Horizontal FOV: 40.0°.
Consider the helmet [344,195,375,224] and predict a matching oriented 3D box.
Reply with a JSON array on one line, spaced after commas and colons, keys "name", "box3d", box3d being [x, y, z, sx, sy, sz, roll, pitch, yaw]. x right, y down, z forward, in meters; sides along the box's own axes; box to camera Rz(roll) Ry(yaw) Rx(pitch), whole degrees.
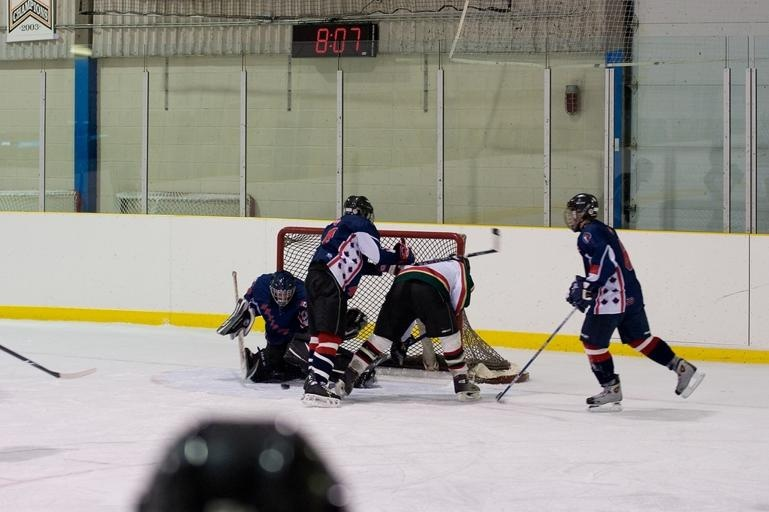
[{"name": "helmet", "box3d": [-0.186, -0.381, 8.489, 0.248, 0.222, 0.201, -4, 6, -41]}]

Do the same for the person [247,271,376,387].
[{"name": "person", "box3d": [-0.797, 0.616, 8.956, 0.856, 1.043, 0.530, 0, 0, 4]}]

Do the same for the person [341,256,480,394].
[{"name": "person", "box3d": [0.216, 0.582, 8.499, 0.692, 0.642, 0.954, -18, 37, 29]}]

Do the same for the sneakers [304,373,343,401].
[{"name": "sneakers", "box3d": [-0.475, 1.018, 8.088, 0.286, 0.226, 0.250, 1, 6, -3]}]

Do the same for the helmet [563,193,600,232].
[{"name": "helmet", "box3d": [1.574, -0.339, 8.300, 0.306, 0.310, 0.258, 1, -2, 11]}]

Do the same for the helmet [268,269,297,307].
[{"name": "helmet", "box3d": [-0.811, 0.255, 8.658, 0.233, 0.249, 0.259, 2, 34, -9]}]
